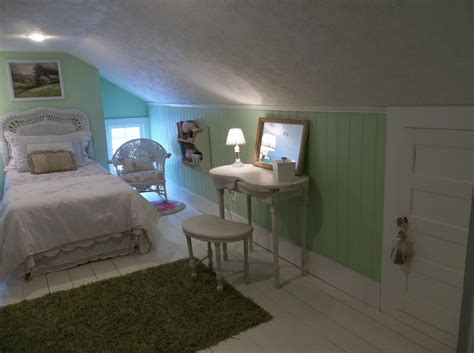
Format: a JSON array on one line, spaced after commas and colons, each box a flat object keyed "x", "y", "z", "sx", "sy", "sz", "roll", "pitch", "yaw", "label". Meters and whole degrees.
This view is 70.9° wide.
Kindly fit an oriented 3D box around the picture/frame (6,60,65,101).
[{"x": -3.044, "y": -1.461, "z": 4.980, "sx": 0.632, "sy": 0.556, "sz": 0.028, "roll": -5, "pitch": 6, "yaw": -34, "label": "picture/frame"}]

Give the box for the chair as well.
[{"x": -1.569, "y": -0.087, "z": 5.371, "sx": 0.952, "sy": 1.079, "sz": 0.823, "roll": -10, "pitch": 8, "yaw": -40, "label": "chair"}]

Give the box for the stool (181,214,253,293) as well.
[{"x": -0.194, "y": 0.710, "z": 3.166, "sx": 0.462, "sy": 0.601, "sz": 0.761, "roll": -13, "pitch": 12, "yaw": -36, "label": "stool"}]

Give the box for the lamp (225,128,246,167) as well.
[{"x": 0.002, "y": -0.299, "z": 3.541, "sx": 0.205, "sy": 0.398, "sz": 0.201, "roll": -2, "pitch": 8, "yaw": 10, "label": "lamp"}]

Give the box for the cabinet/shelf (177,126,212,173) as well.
[{"x": -0.622, "y": -0.443, "z": 4.685, "sx": 0.246, "sy": 0.748, "sz": 0.850, "roll": -2, "pitch": -11, "yaw": 16, "label": "cabinet/shelf"}]
